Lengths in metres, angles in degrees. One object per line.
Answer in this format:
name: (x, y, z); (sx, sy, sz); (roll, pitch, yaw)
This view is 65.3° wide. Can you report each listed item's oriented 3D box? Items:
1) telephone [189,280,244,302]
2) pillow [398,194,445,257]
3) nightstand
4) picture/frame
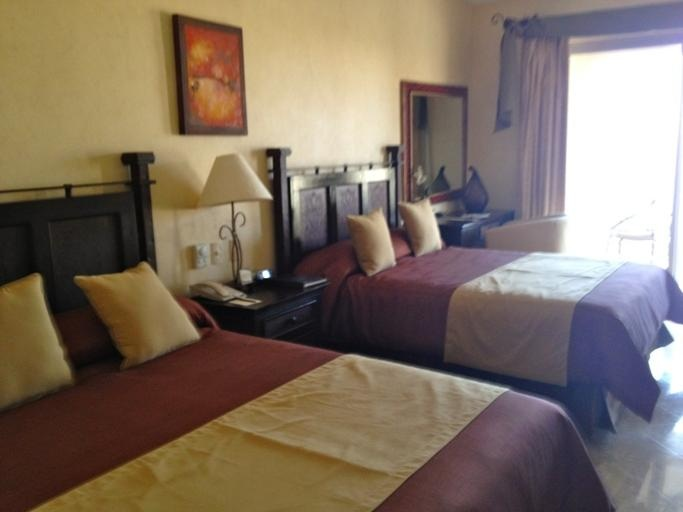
telephone: (-0.834, 0.224, 3.473); (0.223, 0.068, 0.172); (8, 15, 28)
pillow: (0.725, -0.272, 4.918); (0.270, 0.550, 0.562); (10, 23, 38)
nightstand: (-0.499, 0.200, 3.577); (0.420, 0.656, 0.655); (6, 13, 27)
picture/frame: (-0.904, -1.221, 3.535); (0.086, 0.987, 0.787); (1, 8, 26)
